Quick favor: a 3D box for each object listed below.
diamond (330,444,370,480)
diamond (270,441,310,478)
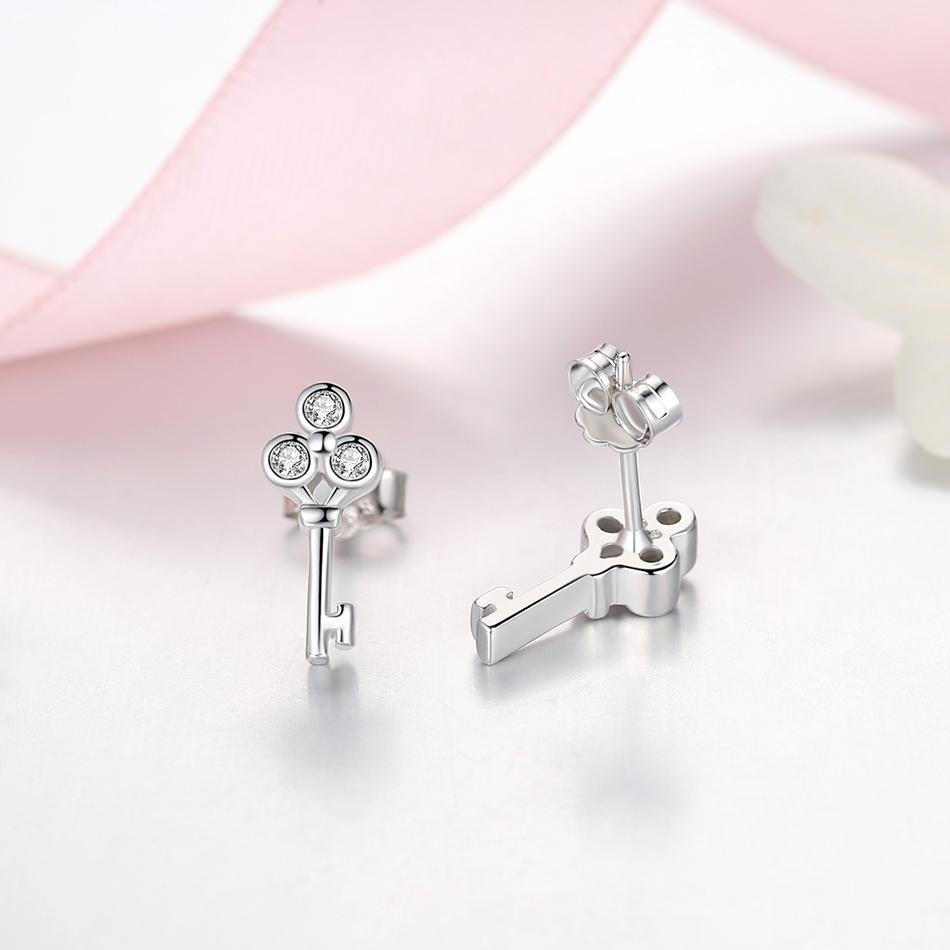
[{"bbox_3d":[-0.083,-0.009,0.746,0.029,0.023,0.008,8,-7,-3],"label":"diamond"},{"bbox_3d":[-0.128,-0.010,0.745,0.030,0.024,0.009,5,-2,2],"label":"diamond"}]
